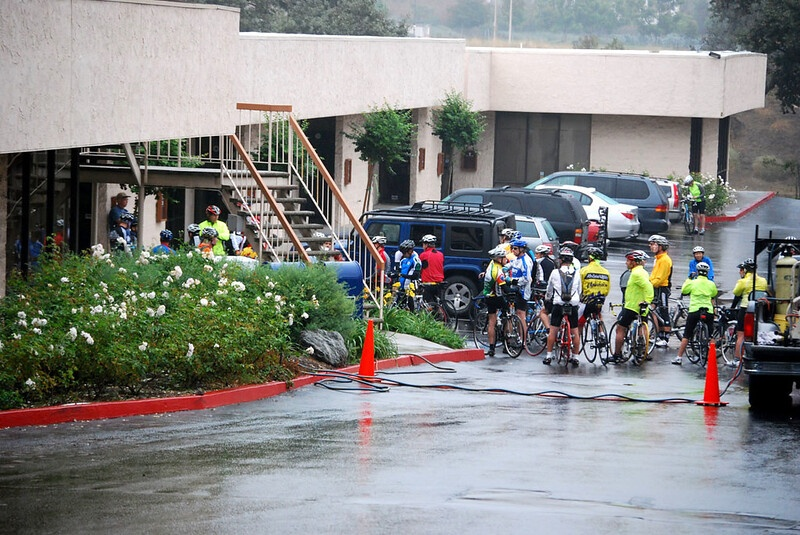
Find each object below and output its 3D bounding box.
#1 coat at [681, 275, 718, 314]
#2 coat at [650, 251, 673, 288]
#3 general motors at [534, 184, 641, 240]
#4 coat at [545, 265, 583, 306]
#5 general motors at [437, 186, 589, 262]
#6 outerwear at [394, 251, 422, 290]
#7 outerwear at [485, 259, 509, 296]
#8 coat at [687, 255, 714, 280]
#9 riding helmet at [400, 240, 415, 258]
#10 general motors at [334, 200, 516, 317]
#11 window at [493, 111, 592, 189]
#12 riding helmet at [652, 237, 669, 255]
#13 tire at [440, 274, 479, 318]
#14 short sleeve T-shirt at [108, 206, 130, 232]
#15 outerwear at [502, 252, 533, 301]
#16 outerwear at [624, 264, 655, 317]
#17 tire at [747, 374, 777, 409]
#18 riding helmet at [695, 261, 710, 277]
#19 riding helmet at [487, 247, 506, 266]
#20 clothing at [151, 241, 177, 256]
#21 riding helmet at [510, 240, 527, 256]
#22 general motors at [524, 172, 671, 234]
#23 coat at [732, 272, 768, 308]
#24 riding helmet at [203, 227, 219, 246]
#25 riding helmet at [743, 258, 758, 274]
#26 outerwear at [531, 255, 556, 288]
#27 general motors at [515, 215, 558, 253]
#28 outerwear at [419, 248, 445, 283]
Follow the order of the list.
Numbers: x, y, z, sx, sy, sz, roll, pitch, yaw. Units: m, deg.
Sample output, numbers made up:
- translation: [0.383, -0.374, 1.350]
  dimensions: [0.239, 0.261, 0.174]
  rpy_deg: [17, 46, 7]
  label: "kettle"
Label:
- translation: [6.365, 0.547, 30.734]
  dimensions: [0.797, 0.792, 0.638]
  rpy_deg: [-1, 10, -13]
  label: "coat"
- translation: [5.778, 0.016, 32.222]
  dimensions: [0.538, 0.784, 0.798]
  rpy_deg: [0, 13, -1]
  label: "coat"
- translation: [5.565, -1.708, 43.694]
  dimensions: [3.189, 1.216, 1.524]
  rpy_deg: [6, 8, 11]
  label: "general motors"
- translation: [3.401, 0.354, 30.117]
  dimensions: [0.681, 0.840, 0.379]
  rpy_deg: [0, 2, 4]
  label: "coat"
- translation: [3.469, -1.181, 40.356]
  dimensions: [3.504, 1.719, 1.893]
  rpy_deg: [5, 6, 9]
  label: "general motors"
- translation: [0.195, 0.062, 32.798]
  dimensions: [0.396, 0.739, 0.644]
  rpy_deg: [6, 14, -17]
  label: "outerwear"
- translation: [2.074, 0.230, 30.794]
  dimensions: [0.309, 0.552, 0.547]
  rpy_deg: [-25, 33, -30]
  label: "outerwear"
- translation: [6.916, 0.011, 33.329]
  dimensions: [0.381, 0.561, 0.504]
  rpy_deg: [2, 21, 13]
  label: "coat"
- translation: [0.136, -0.448, 32.780]
  dimensions: [0.278, 0.382, 0.350]
  rpy_deg: [9, -7, 33]
  label: "riding helmet"
- translation: [0.510, 0.078, 35.524]
  dimensions: [4.562, 2.847, 2.636]
  rpy_deg: [1, -10, 18]
  label: "general motors"
- translation: [5.610, -4.482, 57.343]
  dimensions: [3.180, 3.263, 0.063]
  rpy_deg: [0, 28, 1]
  label: "window"
- translation: [5.704, -0.493, 31.954]
  dimensions: [0.334, 0.414, 0.386]
  rpy_deg: [0, 2, 4]
  label: "riding helmet"
- translation: [1.427, 0.668, 34.068]
  dimensions: [0.887, 0.935, 0.329]
  rpy_deg: [3, -13, 24]
  label: "tire"
- translation: [-6.328, -1.098, 32.663]
  dimensions: [0.482, 0.617, 0.627]
  rpy_deg: [6, 11, 8]
  label: "short sleeve T-shirt"
- translation: [2.663, 0.201, 31.293]
  dimensions: [0.800, 1.322, 0.947]
  rpy_deg: [-2, 4, 1]
  label: "outerwear"
- translation: [4.997, 0.505, 30.370]
  dimensions: [0.456, 0.759, 0.977]
  rpy_deg: [6, 10, 20]
  label: "outerwear"
- translation: [6.532, 2.226, 26.247]
  dimensions: [0.525, 0.610, 0.541]
  rpy_deg: [3, 0, 19]
  label: "tire"
- translation: [6.521, 0.052, 31.180]
  dimensions: [0.268, 0.327, 0.652]
  rpy_deg: [0, 2, 12]
  label: "riding helmet"
- translation: [2.095, -0.251, 30.952]
  dimensions: [0.375, 0.363, 0.300]
  rpy_deg: [-13, 18, -21]
  label: "riding helmet"
- translation: [-4.822, -0.391, 29.563]
  dimensions: [0.388, 0.187, 0.450]
  rpy_deg: [2, 1, 0]
  label: "clothing"
- translation: [2.626, -0.431, 31.646]
  dimensions: [0.354, 0.349, 0.282]
  rpy_deg: [7, 7, 12]
  label: "riding helmet"
- translation: [6.612, -2.361, 47.088]
  dimensions: [4.252, 1.595, 2.040]
  rpy_deg: [6, 8, 18]
  label: "general motors"
- translation: [7.408, 0.422, 30.483]
  dimensions: [0.745, 0.664, 0.450]
  rpy_deg: [-7, 4, -14]
  label: "coat"
- translation: [-3.888, -0.629, 29.995]
  dimensions: [0.374, 0.368, 0.295]
  rpy_deg: [-2, 8, -44]
  label: "riding helmet"
- translation: [7.311, -0.032, 30.253]
  dimensions: [0.216, 0.262, 0.283]
  rpy_deg: [8, 46, 4]
  label: "riding helmet"
- translation: [3.176, 0.101, 32.214]
  dimensions: [0.621, 0.676, 0.346]
  rpy_deg: [-2, 11, -16]
  label: "outerwear"
- translation: [3.525, -0.892, 36.947]
  dimensions: [1.225, 0.673, 0.727]
  rpy_deg: [5, 8, 11]
  label: "general motors"
- translation: [0.731, -0.045, 33.318]
  dimensions: [0.684, 0.819, 0.475]
  rpy_deg: [-1, 12, -6]
  label: "outerwear"
